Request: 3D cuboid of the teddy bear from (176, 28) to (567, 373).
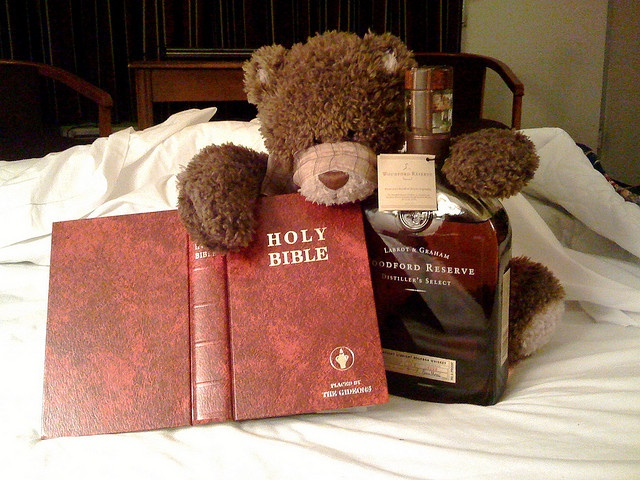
[{"bbox_3d":[0.077,-0.050,0.980,0.621,0.501,0.299,-3,21,7],"label":"teddy bear"}]
